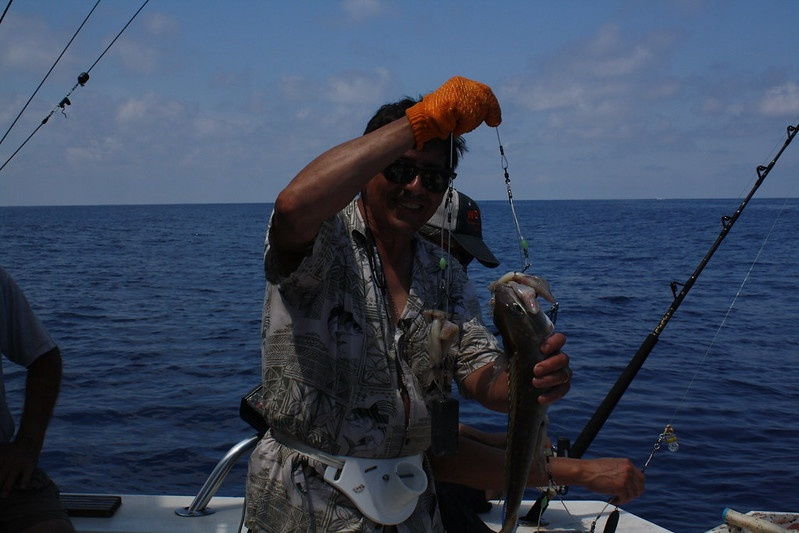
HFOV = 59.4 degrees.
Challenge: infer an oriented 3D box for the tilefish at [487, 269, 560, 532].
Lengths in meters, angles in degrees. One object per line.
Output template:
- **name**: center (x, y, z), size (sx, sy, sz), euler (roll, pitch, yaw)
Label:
- **tilefish**: center (0.752, 0.732, 4.243), size (0.393, 1.540, 0.338), euler (-1, -3, 32)

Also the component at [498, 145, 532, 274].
- **component**: center (0.788, -0.423, 4.792), size (0.042, 0.852, 0.070), euler (-13, 10, 11)

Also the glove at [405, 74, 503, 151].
- **glove**: center (0.306, -0.826, 4.160), size (0.228, 0.379, 0.657), euler (29, 43, 20)

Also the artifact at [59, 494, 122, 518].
- **artifact**: center (-2.494, 1.915, 5.671), size (0.328, 0.067, 0.224), euler (4, 1, -6)
